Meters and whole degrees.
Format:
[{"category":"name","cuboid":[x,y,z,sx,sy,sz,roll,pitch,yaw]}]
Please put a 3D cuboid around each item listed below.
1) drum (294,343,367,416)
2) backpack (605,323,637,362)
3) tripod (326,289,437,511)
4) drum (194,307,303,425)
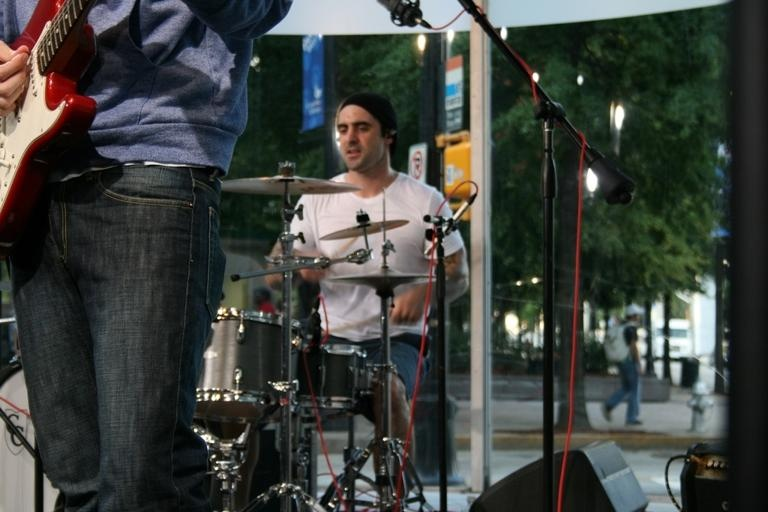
[{"category":"drum","cuboid":[-0.236,0.590,8.494,0.287,0.286,0.298,-1,-6,21]},{"category":"backpack","cuboid":[1.196,0.447,9.000,0.185,0.200,0.124,4,-10,-23]},{"category":"tripod","cuboid":[0.011,0.716,8.663,0.375,1.031,0.701,-1,-8,1]},{"category":"drum","cuboid":[-0.654,0.575,8.505,0.460,0.491,0.494,12,-17,-11]}]
